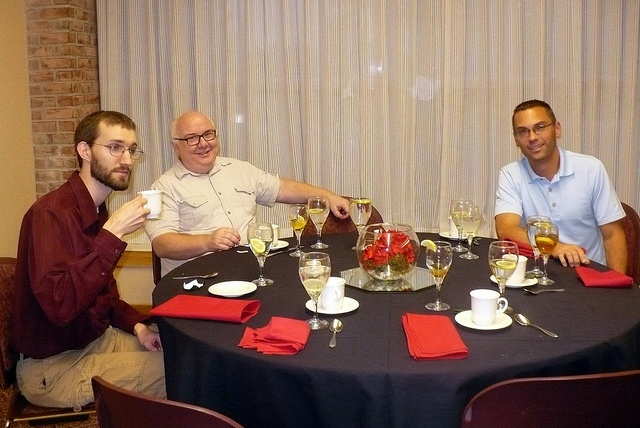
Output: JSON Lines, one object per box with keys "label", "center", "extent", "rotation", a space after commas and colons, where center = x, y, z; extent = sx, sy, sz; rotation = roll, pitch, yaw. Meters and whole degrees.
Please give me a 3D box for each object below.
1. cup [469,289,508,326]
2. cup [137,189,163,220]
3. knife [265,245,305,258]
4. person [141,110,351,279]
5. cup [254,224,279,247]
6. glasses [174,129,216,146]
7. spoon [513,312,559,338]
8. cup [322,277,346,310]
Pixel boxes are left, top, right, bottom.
{"label": "cup", "center": [0.612, 0.334, 1.665], "extent": [0.131, 0.116, 0.115], "rotation": [3, 4, 15]}
{"label": "cup", "center": [-0.780, -0.040, 2.146], "extent": [0.086, 0.112, 0.136], "rotation": [4, 15, 7]}
{"label": "knife", "center": [-0.189, 0.202, 2.374], "extent": [0.042, 0.024, 0.300], "rotation": [19, 19, 31]}
{"label": "person", "center": [-0.445, -0.176, 3.129], "extent": [1.117, 1.625, 0.565], "rotation": [-15, 6, -35]}
{"label": "cup", "center": [-0.277, 0.123, 2.445], "extent": [0.086, 0.109, 0.107], "rotation": [0, 0, 7]}
{"label": "glasses", "center": [-0.859, -0.513, 3.079], "extent": [0.287, 0.103, 0.121], "rotation": [-6, 10, -6]}
{"label": "spoon", "center": [0.759, 0.402, 1.603], "extent": [0.036, 0.025, 0.162], "rotation": [-10, 21, -21]}
{"label": "cup", "center": [0.056, 0.311, 1.740], "extent": [0.072, 0.091, 0.121], "rotation": [3, 16, 3]}
